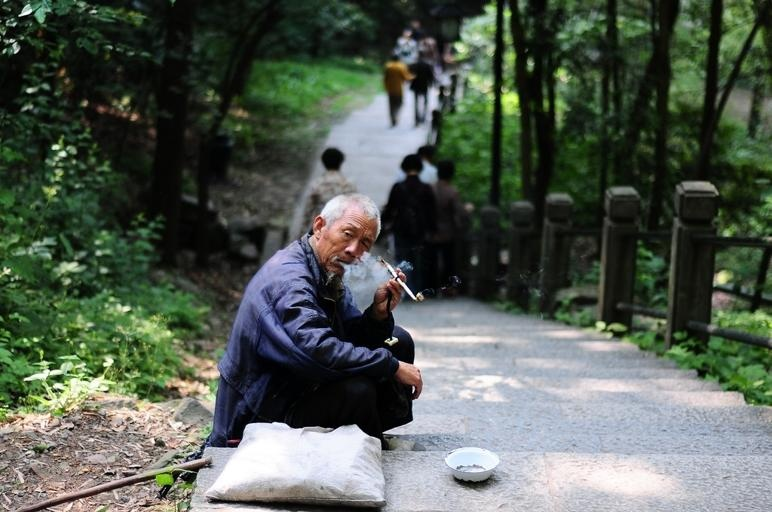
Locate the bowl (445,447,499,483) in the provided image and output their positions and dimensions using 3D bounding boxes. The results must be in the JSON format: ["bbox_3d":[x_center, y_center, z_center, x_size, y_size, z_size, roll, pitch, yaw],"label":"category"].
[{"bbox_3d":[0.595,1.453,5.932,0.376,0.183,0.226,6,7,11],"label":"bowl"}]
